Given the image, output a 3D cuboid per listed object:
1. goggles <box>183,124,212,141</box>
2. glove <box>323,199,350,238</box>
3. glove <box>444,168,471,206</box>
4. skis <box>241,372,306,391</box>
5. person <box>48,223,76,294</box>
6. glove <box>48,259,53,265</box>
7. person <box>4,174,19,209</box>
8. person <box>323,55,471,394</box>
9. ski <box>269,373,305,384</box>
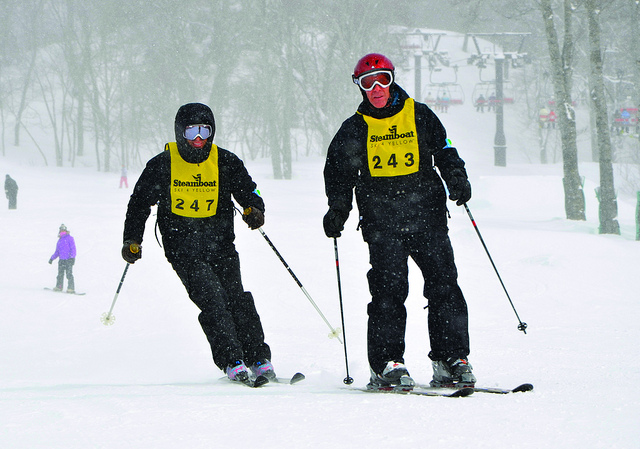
[{"bbox_3d":[-1.360,-1.032,9.122,0.312,0.174,0.086,-2,6,-11],"label":"goggles"},{"bbox_3d":[0.177,-0.058,8.741,0.225,0.409,0.160,24,2,18],"label":"glove"},{"bbox_3d":[1.450,-0.404,8.645,0.255,0.360,0.143,-44,3,6],"label":"glove"},{"bbox_3d":[-0.535,1.698,8.841,0.437,0.079,0.246,-2,6,-30],"label":"skis"},{"bbox_3d":[-4.923,0.642,15.736,0.456,1.155,1.381,-2,7,-17],"label":"person"},{"bbox_3d":[-5.121,0.715,15.649,0.071,0.133,0.058,0,-18,19],"label":"glove"},{"bbox_3d":[-8.323,-0.915,22.190,0.304,0.960,1.150,-3,7,-21],"label":"person"},{"bbox_3d":[0.797,-0.054,8.495,1.434,3.411,0.829,0,6,2],"label":"person"},{"bbox_3d":[-0.333,1.686,8.883,0.254,0.058,0.156,-2,-1,21],"label":"ski"}]
